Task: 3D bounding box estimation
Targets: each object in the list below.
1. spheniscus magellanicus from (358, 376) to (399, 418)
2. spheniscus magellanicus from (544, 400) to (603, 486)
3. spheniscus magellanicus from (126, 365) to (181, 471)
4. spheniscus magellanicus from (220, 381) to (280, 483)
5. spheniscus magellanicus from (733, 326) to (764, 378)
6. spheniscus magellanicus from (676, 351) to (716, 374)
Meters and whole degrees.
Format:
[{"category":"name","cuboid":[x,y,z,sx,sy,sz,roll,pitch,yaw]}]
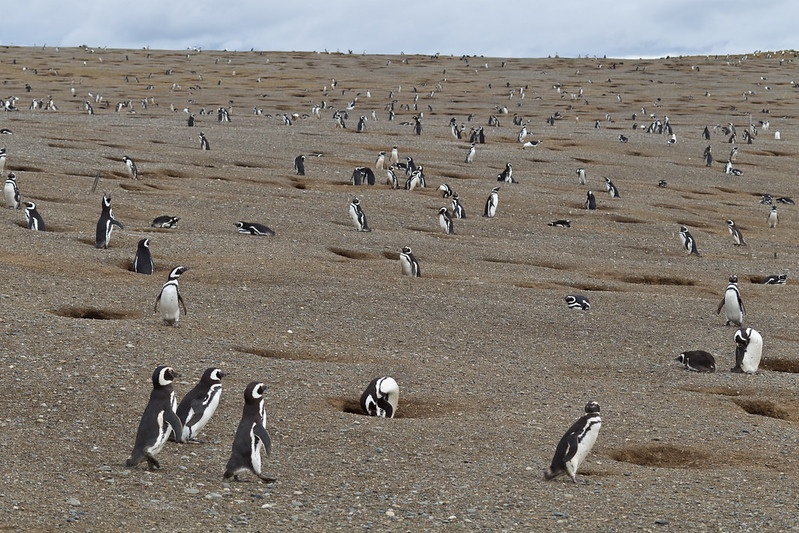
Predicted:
[{"category":"spheniscus magellanicus","cuboid":[-0.300,1.949,14.254,0.538,0.582,0.493,2,12,-3]},{"category":"spheniscus magellanicus","cuboid":[2.298,2.310,12.674,0.684,1.028,0.308,-5,16,-31]},{"category":"spheniscus magellanicus","cuboid":[-3.112,1.926,12.271,0.678,1.295,0.512,0,14,-12]},{"category":"spheniscus magellanicus","cuboid":[-1.843,2.107,12.181,0.654,1.217,0.537,6,14,13]},{"category":"spheniscus magellanicus","cuboid":[5.970,1.427,16.654,0.451,0.803,0.384,6,14,14]},{"category":"spheniscus magellanicus","cuboid":[5.066,1.622,16.651,0.657,0.326,0.318,8,13,28]}]
